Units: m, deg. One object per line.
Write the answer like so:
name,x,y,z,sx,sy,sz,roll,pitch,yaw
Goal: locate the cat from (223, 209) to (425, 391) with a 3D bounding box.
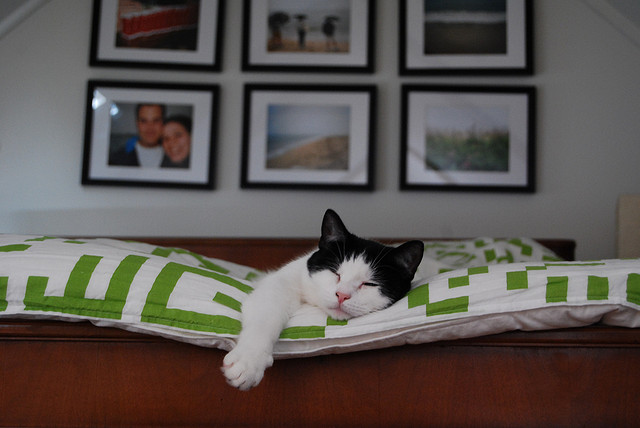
cat,0.046,0.343,2.170,0.552,0.355,0.923,15,25,16
